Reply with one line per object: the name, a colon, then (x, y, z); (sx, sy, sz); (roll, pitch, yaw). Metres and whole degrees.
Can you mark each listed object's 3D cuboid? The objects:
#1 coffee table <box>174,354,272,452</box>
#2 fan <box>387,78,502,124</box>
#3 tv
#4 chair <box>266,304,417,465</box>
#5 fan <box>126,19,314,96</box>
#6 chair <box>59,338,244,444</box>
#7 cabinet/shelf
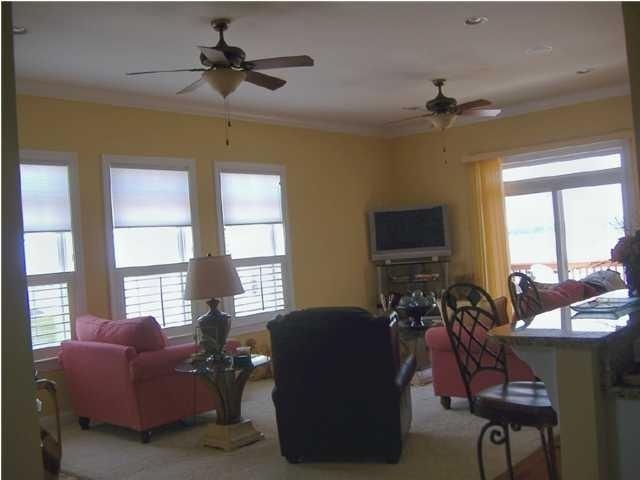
coffee table: (-0.660, 1.205, 3.917); (0.700, 0.504, 0.650); (7, -10, -43)
fan: (1.227, -1.268, 5.073); (0.850, 0.364, 0.820); (-1, 2, -32)
tv: (1.275, -0.071, 7.088); (0.949, 0.647, 0.099); (-3, -5, 12)
chair: (0.165, 0.908, 3.696); (1.068, 1.158, 0.987); (-1, 0, 14)
fan: (-0.631, -1.191, 3.688); (0.798, 0.391, 0.907); (-13, -14, 40)
chair: (-1.400, 1.112, 4.274); (1.005, 0.702, 0.978); (-3, -4, 35)
cabinet/shelf: (1.176, 0.552, 6.412); (0.698, 0.548, 0.244); (-4, -8, 22)
